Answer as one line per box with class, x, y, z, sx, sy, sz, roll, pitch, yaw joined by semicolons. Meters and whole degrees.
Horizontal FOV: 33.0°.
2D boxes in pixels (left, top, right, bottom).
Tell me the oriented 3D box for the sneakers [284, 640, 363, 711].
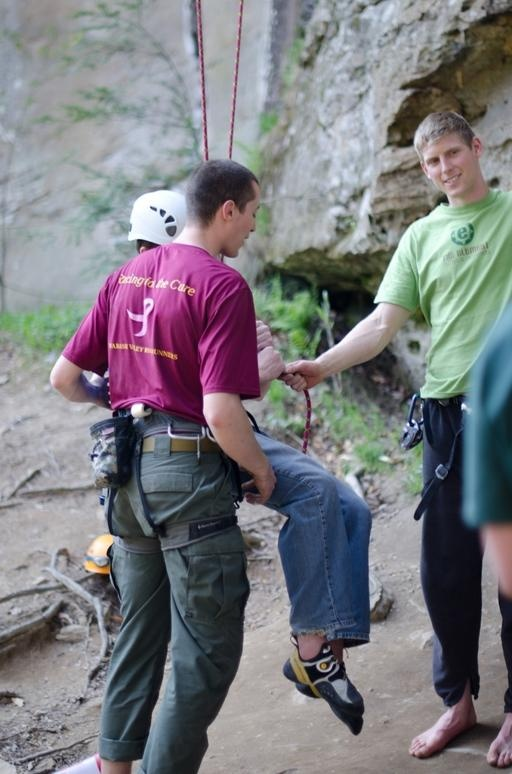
sneakers;0.224;1.003;3.052;0.269;0.236;0.166;-6;4;4
